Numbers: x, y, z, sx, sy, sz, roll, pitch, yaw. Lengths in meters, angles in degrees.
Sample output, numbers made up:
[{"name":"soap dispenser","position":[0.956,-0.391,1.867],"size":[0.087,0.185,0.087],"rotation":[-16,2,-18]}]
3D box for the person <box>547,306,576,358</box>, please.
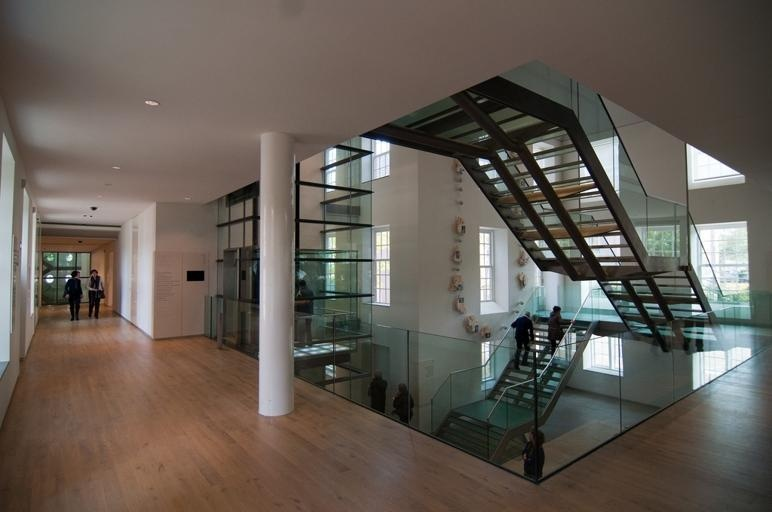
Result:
[{"name":"person","position":[4.195,1.870,12.284],"size":[0.704,1.224,0.703],"rotation":[6,6,26]}]
